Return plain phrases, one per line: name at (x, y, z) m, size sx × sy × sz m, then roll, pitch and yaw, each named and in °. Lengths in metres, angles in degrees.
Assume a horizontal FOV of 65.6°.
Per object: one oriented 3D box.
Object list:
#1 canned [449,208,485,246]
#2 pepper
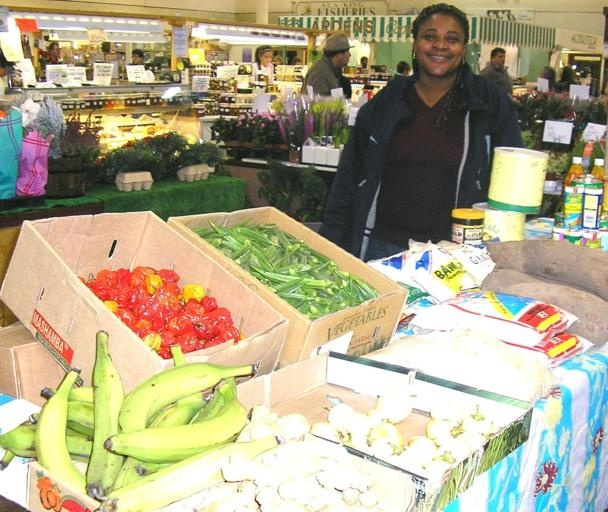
canned at (0.764, -0.134, 2.270) m, size 0.164 × 0.165 × 0.165 m, roll 8°, pitch 17°, yaw 29°
pepper at (-0.477, 0.159, 1.606) m, size 0.414 × 0.123 × 0.316 m, roll 37°, pitch 23°, yaw 29°
